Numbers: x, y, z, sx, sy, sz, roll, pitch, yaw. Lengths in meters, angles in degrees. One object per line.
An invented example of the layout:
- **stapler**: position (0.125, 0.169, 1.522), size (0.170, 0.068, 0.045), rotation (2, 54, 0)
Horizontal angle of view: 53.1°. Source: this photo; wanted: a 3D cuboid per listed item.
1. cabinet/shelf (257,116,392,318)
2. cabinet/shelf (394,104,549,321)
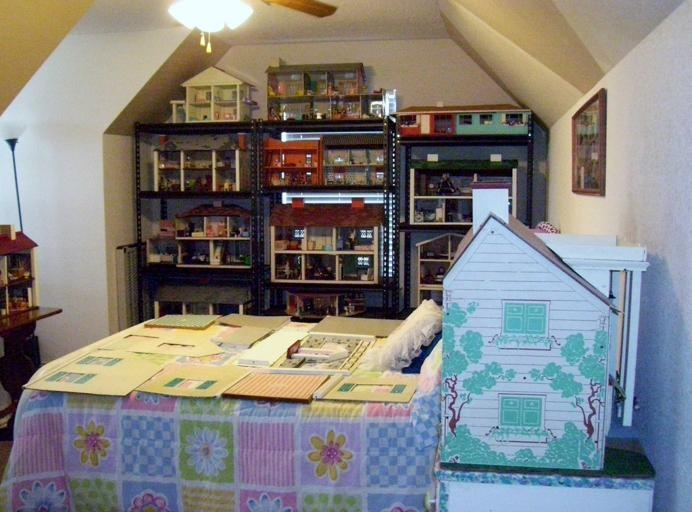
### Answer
- **cabinet/shelf**: position (-0.180, -0.161, 6.386), size (1.209, 2.009, 0.541), rotation (1, 10, 7)
- **cabinet/shelf**: position (0.853, -0.590, 6.303), size (1.124, 1.728, 0.504), rotation (-8, 39, -11)
